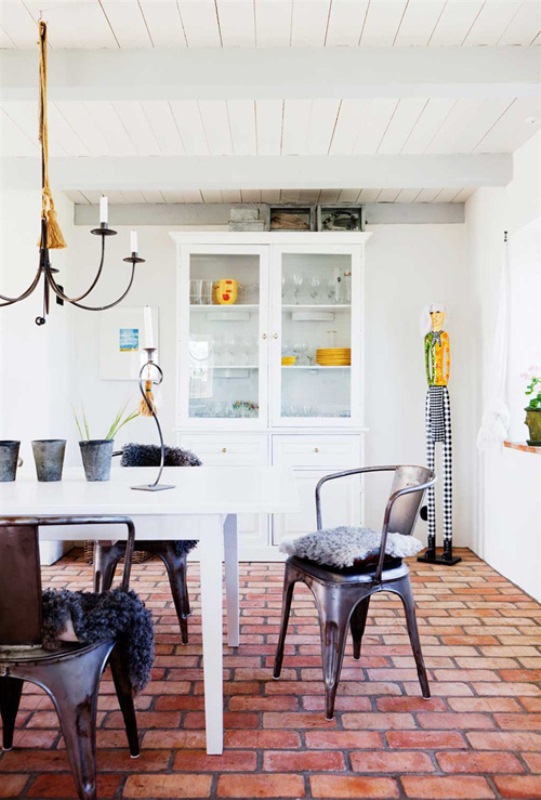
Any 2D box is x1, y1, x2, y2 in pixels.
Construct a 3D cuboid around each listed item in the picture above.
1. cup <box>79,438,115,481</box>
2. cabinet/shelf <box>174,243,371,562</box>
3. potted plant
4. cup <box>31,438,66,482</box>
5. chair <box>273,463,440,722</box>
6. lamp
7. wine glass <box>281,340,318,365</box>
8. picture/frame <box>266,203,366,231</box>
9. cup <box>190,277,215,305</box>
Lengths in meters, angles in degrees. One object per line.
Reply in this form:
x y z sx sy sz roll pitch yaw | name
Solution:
-0.547 0.193 2.140 0.114 0.136 0.123 0 -4 0 | cup
-0.007 -0.039 4.110 1.111 2.027 0.514 -1 11 0 | cabinet/shelf
-0.569 0.156 2.218 0.209 0.227 0.172 3 -7 -39 | potted plant
-0.719 0.190 2.152 0.118 0.144 0.123 1 0 0 | cup
0.270 0.595 2.160 0.490 0.721 0.456 -1 3 -42 | chair
-0.900 -1.013 2.973 0.710 1.366 0.790 -2 9 -13 | lamp
0.158 -0.266 3.888 0.149 0.130 0.166 0 3 -21 | wine glass
0.264 -1.066 3.899 0.551 0.190 0.179 0 1 8 | picture/frame
-0.394 -0.622 3.890 0.157 0.195 0.136 0 -2 -3 | cup
